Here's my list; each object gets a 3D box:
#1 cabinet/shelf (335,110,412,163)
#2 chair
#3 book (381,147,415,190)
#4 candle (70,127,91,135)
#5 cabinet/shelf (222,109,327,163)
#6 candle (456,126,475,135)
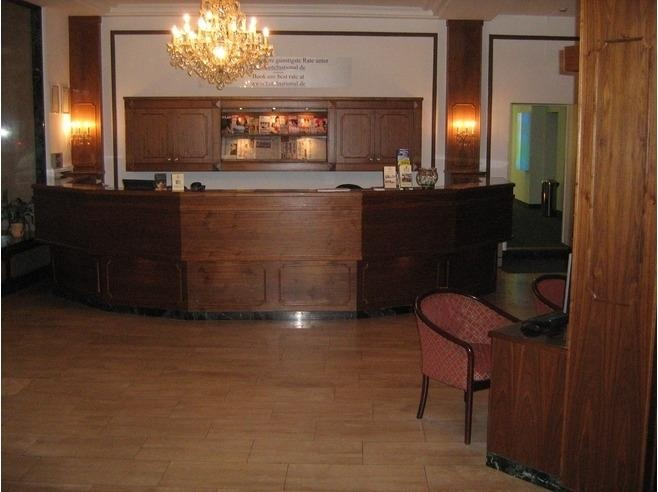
[{"bbox_3d":[0.640,-1.690,8.194,1.097,0.755,0.385,0,2,0],"label":"cabinet/shelf"},{"bbox_3d":[0.966,0.858,3.966,0.630,0.946,0.696,7,14,30],"label":"chair"},{"bbox_3d":[0.810,-0.903,6.324,0.315,0.423,0.425,1,12,5],"label":"book"},{"bbox_3d":[-3.905,-1.796,8.445,0.209,0.076,0.144,12,20,29],"label":"candle"},{"bbox_3d":[-0.865,-1.735,8.432,1.615,0.699,0.410,2,12,9],"label":"cabinet/shelf"},{"bbox_3d":[2.169,-1.804,8.513,0.277,0.129,0.048,-3,12,-12],"label":"candle"}]
